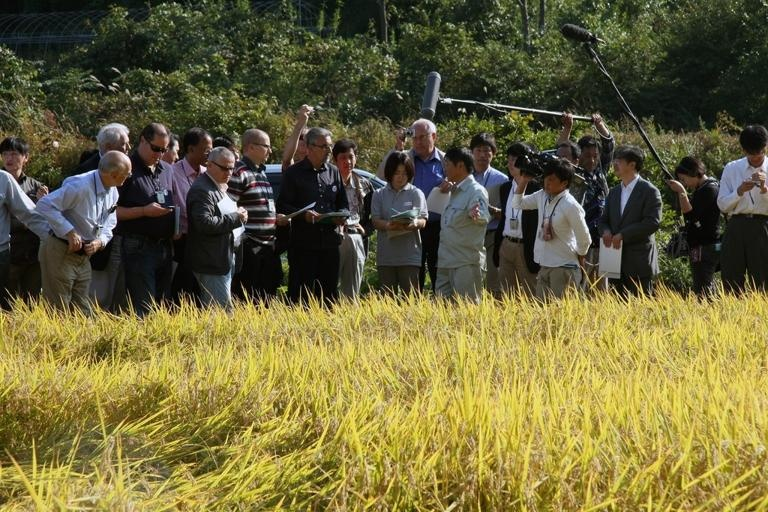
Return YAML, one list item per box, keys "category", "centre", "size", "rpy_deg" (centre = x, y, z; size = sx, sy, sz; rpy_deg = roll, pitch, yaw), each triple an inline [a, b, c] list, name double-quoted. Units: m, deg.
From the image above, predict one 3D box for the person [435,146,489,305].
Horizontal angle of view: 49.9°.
- category: "person"
  centre: [0.863, -0.359, 9.100]
  size: [0.360, 1.672, 0.658]
  rpy_deg: [-4, 3, -37]

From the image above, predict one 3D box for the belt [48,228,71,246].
- category: "belt"
  centre: [-3.144, -0.171, 7.982]
  size: [0.165, 0.068, 0.164]
  rpy_deg: [38, -11, -38]

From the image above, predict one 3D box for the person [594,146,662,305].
- category: "person"
  centre: [2.802, -0.396, 9.393]
  size: [0.673, 1.703, 0.534]
  rpy_deg: [-2, 3, 15]

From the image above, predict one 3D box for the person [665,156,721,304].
- category: "person"
  centre: [3.601, -0.350, 9.490]
  size: [0.524, 1.603, 0.597]
  rpy_deg: [-1, 3, 23]

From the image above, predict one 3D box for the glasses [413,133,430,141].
- category: "glasses"
  centre: [0.474, -1.441, 9.965]
  size: [0.192, 0.074, 0.082]
  rpy_deg: [-3, 3, 2]

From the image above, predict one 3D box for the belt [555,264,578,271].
- category: "belt"
  centre: [1.924, 0.121, 8.495]
  size: [0.097, 0.054, 0.127]
  rpy_deg: [7, -19, -28]

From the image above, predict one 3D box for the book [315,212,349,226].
- category: "book"
  centre: [-0.531, -0.389, 8.685]
  size: [0.336, 0.125, 0.216]
  rpy_deg: [-4, 4, -13]

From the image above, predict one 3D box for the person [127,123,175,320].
- category: "person"
  centre: [-2.365, -0.393, 8.449]
  size: [0.646, 1.924, 0.587]
  rpy_deg: [-5, 4, -43]

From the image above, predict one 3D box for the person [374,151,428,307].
- category: "person"
  centre: [0.186, -0.364, 9.222]
  size: [0.642, 1.621, 0.710]
  rpy_deg: [-2, 3, 0]

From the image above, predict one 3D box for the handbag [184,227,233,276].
- category: "handbag"
  centre: [-1.795, -0.059, 8.405]
  size: [0.432, 0.518, 0.471]
  rpy_deg: [-3, 1, 14]

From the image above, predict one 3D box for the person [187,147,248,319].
- category: "person"
  centre: [-1.703, -0.263, 8.338]
  size: [0.609, 1.652, 0.400]
  rpy_deg: [-3, 3, -16]

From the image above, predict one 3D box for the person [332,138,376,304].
- category: "person"
  centre: [-0.451, -0.149, 9.639]
  size: [0.696, 2.302, 0.680]
  rpy_deg: [3, 18, 0]

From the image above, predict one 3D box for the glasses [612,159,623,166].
- category: "glasses"
  centre: [2.669, -1.062, 9.400]
  size: [0.066, 0.055, 0.064]
  rpy_deg: [2, 0, -18]

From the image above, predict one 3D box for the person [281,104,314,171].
- category: "person"
  centre: [-0.979, -1.272, 9.805]
  size: [0.221, 1.020, 0.291]
  rpy_deg: [-20, -24, 28]

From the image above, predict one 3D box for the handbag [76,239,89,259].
- category: "handbag"
  centre: [-2.926, -0.056, 8.039]
  size: [0.055, 0.154, 0.113]
  rpy_deg: [5, 6, -20]

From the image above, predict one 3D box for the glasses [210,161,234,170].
- category: "glasses"
  centre: [-1.604, -0.898, 8.265]
  size: [0.201, 0.087, 0.090]
  rpy_deg: [-6, 5, -41]

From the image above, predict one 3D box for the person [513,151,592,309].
- category: "person"
  centre: [1.759, -0.276, 8.618]
  size: [0.334, 1.450, 0.791]
  rpy_deg: [-5, 4, -42]

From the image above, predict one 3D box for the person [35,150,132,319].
- category: "person"
  centre: [-2.931, -0.217, 8.083]
  size: [0.888, 1.556, 0.579]
  rpy_deg: [-3, 3, -16]
